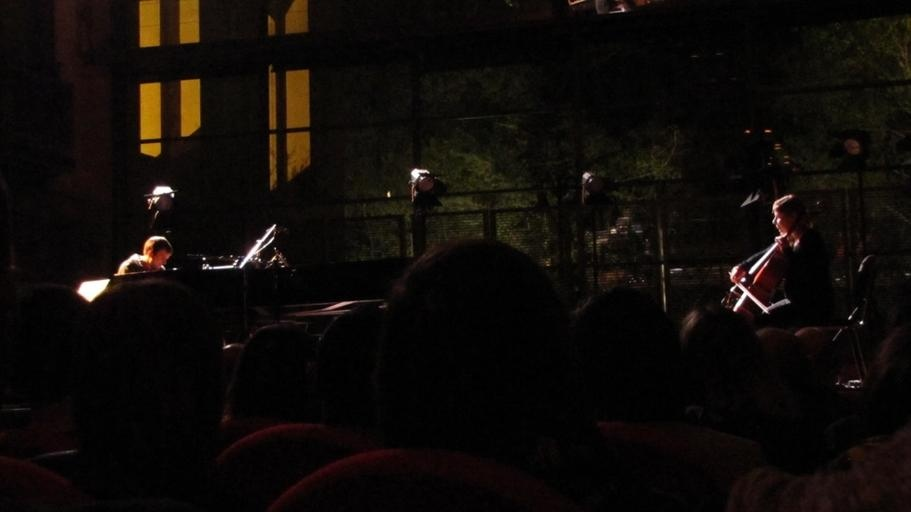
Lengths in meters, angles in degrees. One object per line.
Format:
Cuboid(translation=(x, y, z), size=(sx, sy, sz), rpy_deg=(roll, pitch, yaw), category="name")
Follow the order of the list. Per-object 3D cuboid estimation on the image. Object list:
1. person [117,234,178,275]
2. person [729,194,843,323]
Cuboid(translation=(-4.418, 0.113, 14.275), size=(0.764, 0.732, 0.511), rpy_deg=(9, 4, 19), category="person")
Cuboid(translation=(4.288, 0.255, 13.065), size=(1.647, 2.375, 1.207), rpy_deg=(0, 1, 30), category="person")
